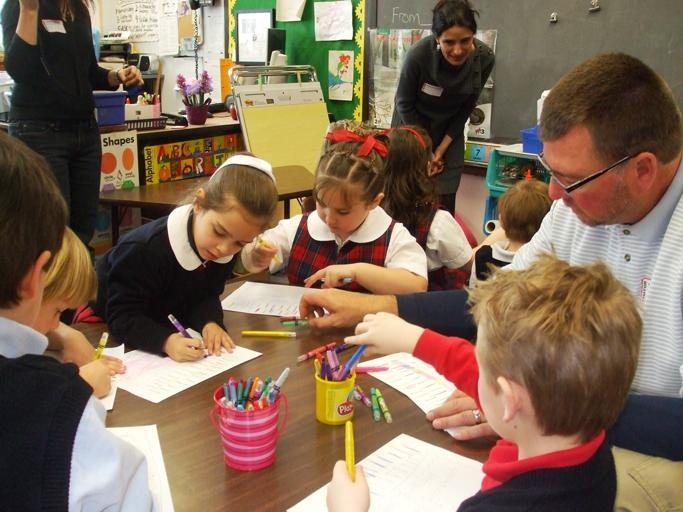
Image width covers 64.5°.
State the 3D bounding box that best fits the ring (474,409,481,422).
[{"bbox_3d":[0.308,0.362,1.230,0.018,0.019,0.017,-6,40,5],"label":"ring"}]

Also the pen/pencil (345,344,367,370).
[{"bbox_3d":[0.037,0.257,1.371,0.014,0.103,0.017,21,40,-16],"label":"pen/pencil"}]

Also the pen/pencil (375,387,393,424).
[{"bbox_3d":[0.099,0.356,1.277,0.016,0.015,0.085,-23,24,1],"label":"pen/pencil"}]

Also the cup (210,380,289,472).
[{"bbox_3d":[-0.185,0.357,1.137,0.150,0.126,0.147,2,19,-1],"label":"cup"}]

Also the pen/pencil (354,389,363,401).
[{"bbox_3d":[0.039,0.337,1.317,0.015,0.012,0.041,-6,16,-15],"label":"pen/pencil"}]

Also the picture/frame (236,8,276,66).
[{"bbox_3d":[-0.856,-2.105,5.243,0.462,0.506,0.126,11,17,35],"label":"picture/frame"}]

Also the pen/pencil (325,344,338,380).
[{"bbox_3d":[-0.021,0.246,1.249,0.018,0.019,0.066,-4,49,-3],"label":"pen/pencil"}]

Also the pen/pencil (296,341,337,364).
[{"bbox_3d":[-0.068,0.255,1.422,0.021,0.022,0.163,8,19,35],"label":"pen/pencil"}]

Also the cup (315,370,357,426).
[{"bbox_3d":[-0.015,0.315,1.272,0.096,0.108,0.100,0,26,0],"label":"cup"}]

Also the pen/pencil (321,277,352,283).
[{"bbox_3d":[-0.014,0.082,1.866,0.076,0.024,0.017,-1,9,-15],"label":"pen/pencil"}]

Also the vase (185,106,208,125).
[{"bbox_3d":[-1.032,-1.003,3.849,0.127,0.100,0.125,-12,32,-24],"label":"vase"}]

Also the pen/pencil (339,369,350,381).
[{"bbox_3d":[0.005,0.266,1.219,0.008,0.026,0.017,22,-5,-36],"label":"pen/pencil"}]

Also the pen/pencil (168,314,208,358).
[{"bbox_3d":[-0.427,0.225,1.508,0.014,0.121,0.013,-5,38,50],"label":"pen/pencil"}]

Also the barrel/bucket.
[{"bbox_3d":[-0.185,0.356,1.134,0.147,0.123,0.144,1,18,0],"label":"barrel/bucket"}]

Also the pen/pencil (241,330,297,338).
[{"bbox_3d":[-0.213,0.226,1.570,0.126,0.016,0.016,0,0,1],"label":"pen/pencil"}]

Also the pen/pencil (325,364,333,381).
[{"bbox_3d":[-0.032,0.266,1.230,0.018,0.028,0.025,0,4,-6],"label":"pen/pencil"}]

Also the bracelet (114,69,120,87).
[{"bbox_3d":[-1.239,-0.976,2.987,0.024,0.062,0.051,0,8,-9],"label":"bracelet"}]

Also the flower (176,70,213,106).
[{"bbox_3d":[-1.090,-1.229,3.973,0.240,0.243,0.414,-4,16,-17],"label":"flower"}]
